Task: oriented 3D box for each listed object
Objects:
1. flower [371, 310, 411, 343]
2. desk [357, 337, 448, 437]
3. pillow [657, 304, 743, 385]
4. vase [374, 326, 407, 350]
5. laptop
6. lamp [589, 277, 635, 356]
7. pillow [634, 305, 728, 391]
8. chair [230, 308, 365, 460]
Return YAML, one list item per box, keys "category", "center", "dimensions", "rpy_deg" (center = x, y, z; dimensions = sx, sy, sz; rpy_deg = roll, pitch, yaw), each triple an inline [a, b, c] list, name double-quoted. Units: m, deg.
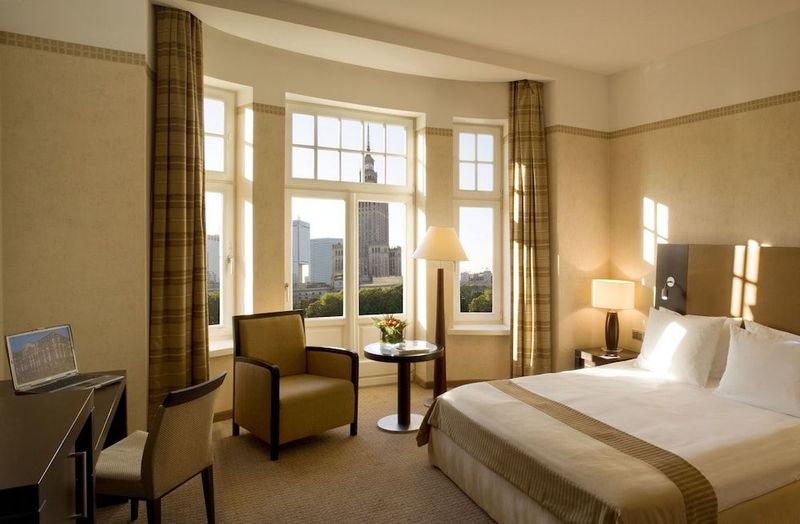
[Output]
- category: "flower"
  center: [-0.096, 0.718, 6.636]
  dimensions: [0.322, 0.244, 0.336]
  rpy_deg: [-2, -3, 24]
- category: "desk"
  center: [0.011, 1.373, 6.387]
  dimensions: [0.822, 0.808, 0.894]
  rpy_deg: [-4, 1, -2]
- category: "pillow"
  center: [2.932, 0.832, 5.776]
  dimensions: [0.196, 0.675, 0.639]
  rpy_deg: [19, -10, -34]
- category: "vase"
  center: [-0.124, 0.830, 6.450]
  dimensions: [0.220, 0.165, 0.230]
  rpy_deg: [-3, -5, 27]
- category: "laptop"
  center: [-2.731, 0.748, 4.663]
  dimensions: [0.527, 0.454, 0.542]
  rpy_deg: [-2, -2, 24]
- category: "lamp"
  center: [2.588, 0.683, 7.140]
  dimensions: [0.523, 0.817, 0.526]
  rpy_deg: [9, -8, -24]
- category: "pillow"
  center: [2.848, 0.827, 5.846]
  dimensions: [0.256, 0.700, 0.675]
  rpy_deg: [33, -16, -37]
- category: "chair"
  center: [-1.157, 1.201, 6.125]
  dimensions: [1.024, 1.260, 1.117]
  rpy_deg: [1, 3, 35]
